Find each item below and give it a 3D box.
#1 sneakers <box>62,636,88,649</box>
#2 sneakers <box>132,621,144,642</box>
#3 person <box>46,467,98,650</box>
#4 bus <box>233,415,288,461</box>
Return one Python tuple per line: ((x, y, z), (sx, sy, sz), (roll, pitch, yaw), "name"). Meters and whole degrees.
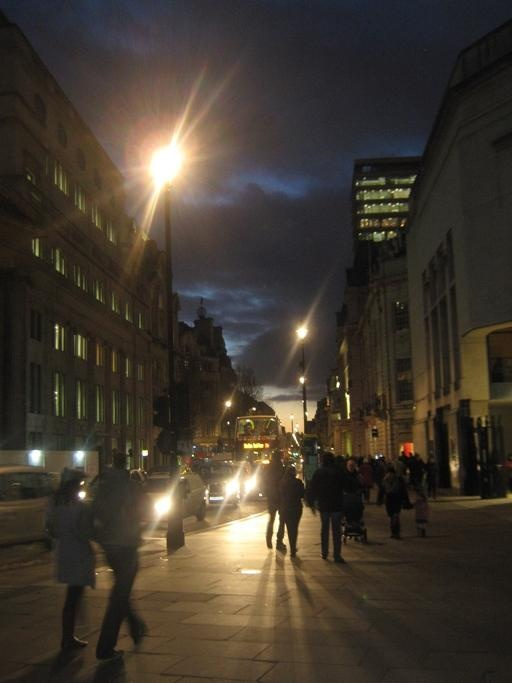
((-1.516, 2.541, 5.928), (0.221, 0.111, 0.090), (3, -12, -15), "sneakers")
((-1.012, 2.525, 6.145), (0.066, 0.176, 0.222), (4, 16, 1), "sneakers")
((-1.588, 1.886, 6.137), (0.374, 1.504, 0.530), (7, -14, -30), "person")
((0.289, 5.928, 44.238), (1.638, 2.735, 5.003), (-1, -6, 8), "bus")
